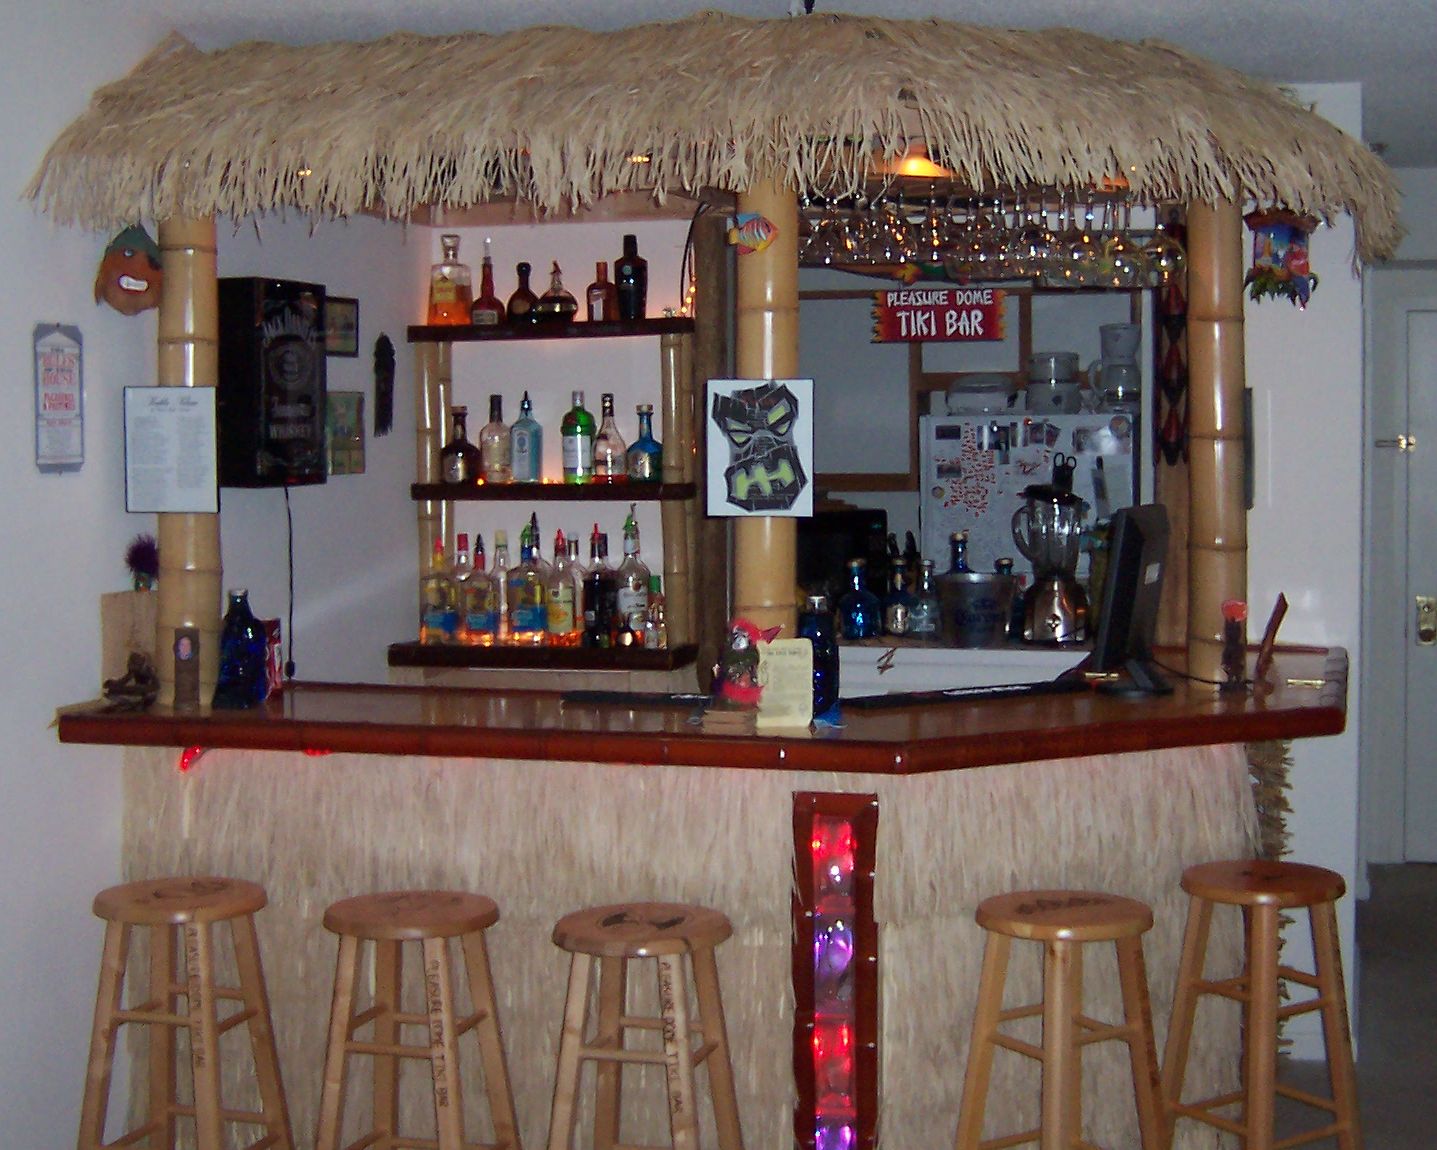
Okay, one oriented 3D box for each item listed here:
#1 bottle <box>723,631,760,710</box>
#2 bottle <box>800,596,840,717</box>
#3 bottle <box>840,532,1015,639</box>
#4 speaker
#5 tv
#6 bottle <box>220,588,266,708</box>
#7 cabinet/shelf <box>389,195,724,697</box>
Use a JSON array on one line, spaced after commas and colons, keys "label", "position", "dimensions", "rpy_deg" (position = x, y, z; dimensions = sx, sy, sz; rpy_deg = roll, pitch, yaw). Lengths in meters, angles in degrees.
[{"label": "bottle", "position": [0.049, 0.233, 4.319], "dimensions": [0.094, 0.186, 0.054], "rpy_deg": [-1, 1, 1]}, {"label": "bottle", "position": [0.253, 0.205, 4.426], "dimensions": [0.092, 0.316, 0.197], "rpy_deg": [-1, 2, 2]}, {"label": "bottle", "position": [0.820, 0.051, 6.434], "dimensions": [0.548, 0.510, 0.344], "rpy_deg": [3, 2, 22]}, {"label": "speaker", "position": [-1.433, -0.722, 5.377], "dimensions": [0.371, 0.722, 0.389], "rpy_deg": [-9, 41, -31]}, {"label": "tv", "position": [1.142, 0.062, 4.772], "dimensions": [0.241, 0.511, 0.377], "rpy_deg": [-1, 2, 2]}, {"label": "bottle", "position": [-1.330, 0.199, 4.760], "dimensions": [0.138, 0.325, 0.160], "rpy_deg": [-1, 0, 20]}, {"label": "cabinet/shelf", "position": [-0.589, -0.465, 6.377], "dimensions": [1.329, 2.029, 0.608], "rpy_deg": [0, 4, 21]}]
